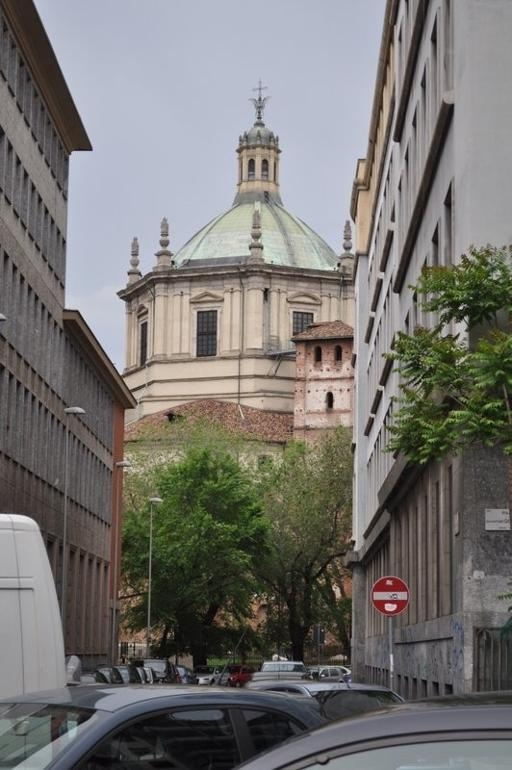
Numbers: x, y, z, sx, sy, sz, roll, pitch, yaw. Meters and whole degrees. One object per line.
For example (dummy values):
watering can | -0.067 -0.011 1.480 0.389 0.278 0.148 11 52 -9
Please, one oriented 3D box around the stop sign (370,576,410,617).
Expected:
stop sign | 1.994 3.067 21.051 0.504 0.658 1.111 -3 -15 6
